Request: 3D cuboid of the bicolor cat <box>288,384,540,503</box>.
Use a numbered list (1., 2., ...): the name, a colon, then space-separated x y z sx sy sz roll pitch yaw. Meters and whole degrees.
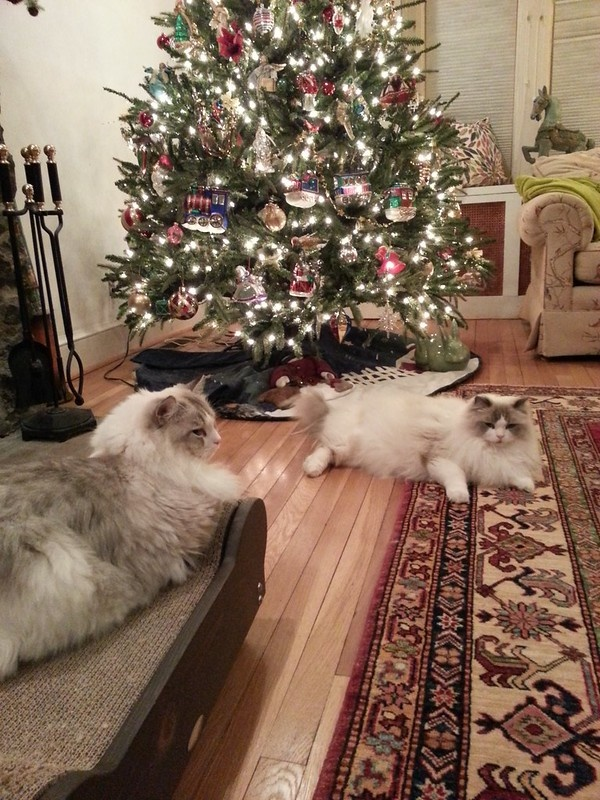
1. bicolor cat: 0.385 0.115 1.957 0.603 0.218 0.418 4 19 18
